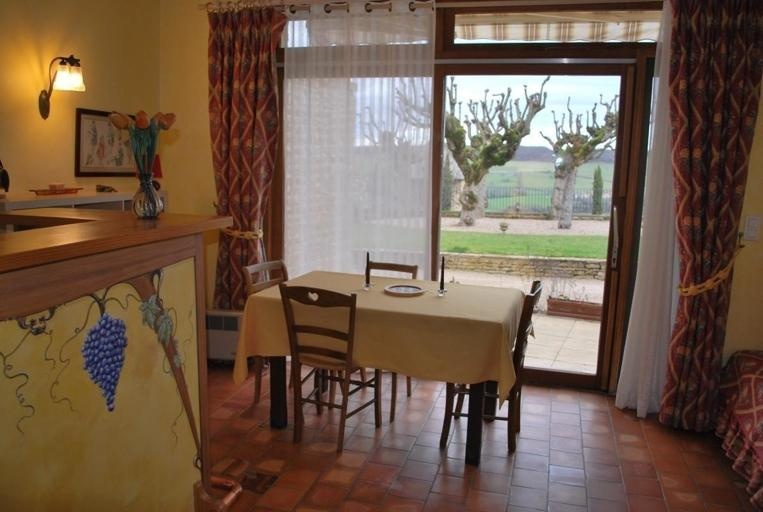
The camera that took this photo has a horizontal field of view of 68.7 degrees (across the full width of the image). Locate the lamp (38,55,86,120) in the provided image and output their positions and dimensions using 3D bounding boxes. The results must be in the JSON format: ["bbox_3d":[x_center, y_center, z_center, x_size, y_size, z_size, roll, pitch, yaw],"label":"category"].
[{"bbox_3d":[-2.368,-1.309,4.283,0.332,0.524,0.382,8,12,29],"label":"lamp"}]

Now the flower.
[{"bbox_3d":[-1.201,-0.451,2.804,0.344,0.536,0.293,-2,6,-10],"label":"flower"}]
